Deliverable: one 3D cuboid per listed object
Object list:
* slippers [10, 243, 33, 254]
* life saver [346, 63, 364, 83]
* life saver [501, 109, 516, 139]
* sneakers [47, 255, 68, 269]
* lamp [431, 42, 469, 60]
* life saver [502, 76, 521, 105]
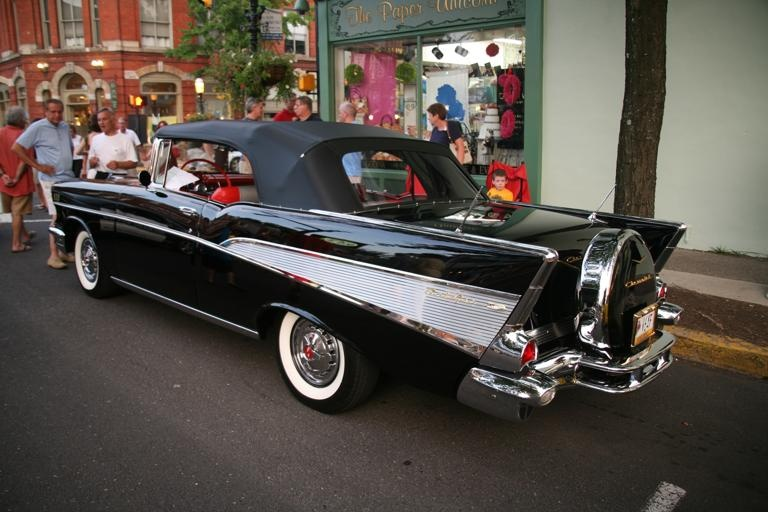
[{"bbox_3d":[-6.372,-0.139,8.734,0.308,0.224,0.129,-11,20,-40],"label":"slippers"},{"bbox_3d":[-0.739,-4.445,12.191,0.560,0.477,0.083,11,21,34],"label":"life saver"},{"bbox_3d":[2.384,-2.560,9.641,0.136,0.445,0.448,5,-12,-26],"label":"life saver"},{"bbox_3d":[-5.106,0.090,7.766,0.460,0.184,0.155,2,9,40],"label":"sneakers"},{"bbox_3d":[1.310,-4.253,10.357,0.158,0.272,0.938,-14,37,-39],"label":"lamp"},{"bbox_3d":[2.442,-3.194,9.563,0.141,0.474,0.431,-5,23,-31],"label":"life saver"}]
